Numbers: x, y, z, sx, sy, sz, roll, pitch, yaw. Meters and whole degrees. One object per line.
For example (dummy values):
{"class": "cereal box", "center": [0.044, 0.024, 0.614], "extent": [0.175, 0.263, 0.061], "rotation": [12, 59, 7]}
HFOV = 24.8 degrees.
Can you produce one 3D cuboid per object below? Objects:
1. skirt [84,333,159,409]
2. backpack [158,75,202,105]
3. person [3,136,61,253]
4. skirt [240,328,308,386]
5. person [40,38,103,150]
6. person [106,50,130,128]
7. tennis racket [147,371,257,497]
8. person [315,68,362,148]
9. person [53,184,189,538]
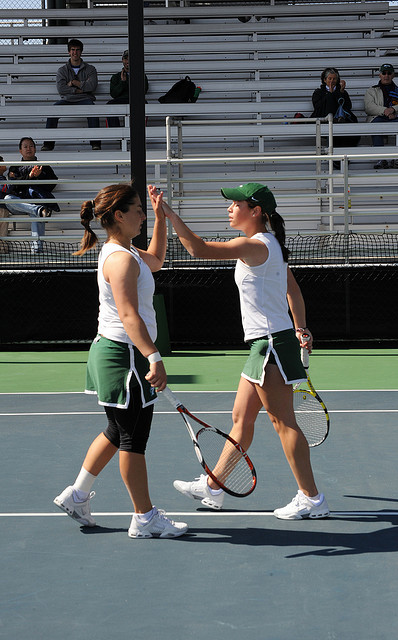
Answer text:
{"class": "skirt", "center": [-0.392, 0.219, 4.224], "extent": [0.238, 0.302, 0.419], "rotation": [1, 7, -31]}
{"class": "backpack", "center": [-0.371, -4.077, 16.133], "extent": [0.703, 0.522, 0.541], "rotation": [-3, 7, -8]}
{"class": "person", "center": [-2.366, -1.798, 12.803], "extent": [0.772, 1.604, 2.298], "rotation": [-3, 7, -9]}
{"class": "skirt", "center": [0.374, 0.174, 4.429], "extent": [0.333, 0.286, 0.207], "rotation": [1, 0, 18]}
{"class": "person", "center": [-2.321, -4.042, 16.320], "extent": [1.079, 1.999, 1.597], "rotation": [-2, 7, -6]}
{"class": "person", "center": [-1.430, -4.025, 15.847], "extent": [0.401, 1.385, 0.889], "rotation": [-2, 7, -6]}
{"class": "tennis racket", "center": [0.004, 0.695, 5.343], "extent": [0.264, 0.779, 0.081], "rotation": [-50, 23, -26]}
{"class": "person", "center": [2.356, -3.585, 15.331], "extent": [0.770, 1.362, 3.035], "rotation": [-1, 7, 10]}
{"class": "person", "center": [-0.372, 0.211, 4.216], "extent": [0.626, 1.678, 0.849], "rotation": [-3, 7, -10]}
